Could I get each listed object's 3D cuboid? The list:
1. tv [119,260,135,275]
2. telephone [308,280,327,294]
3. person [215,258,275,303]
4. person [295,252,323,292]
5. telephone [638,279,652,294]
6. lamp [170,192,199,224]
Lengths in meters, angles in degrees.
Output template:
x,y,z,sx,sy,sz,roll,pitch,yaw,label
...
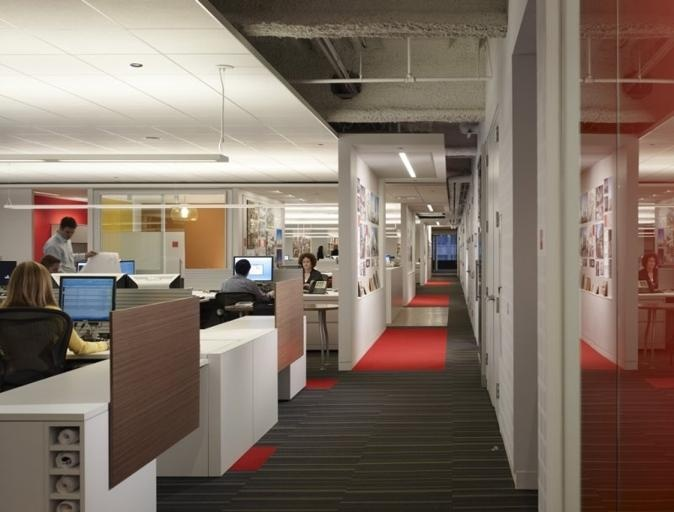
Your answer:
x,y,z,sx,sy,sz,roll,pitch,yaw,label
-3.429,0.200,8.342,0.170,0.242,0.248,-1,3,-1,tv
-0.313,0.521,8.454,0.249,0.199,0.243,3,11,27,telephone
-1.395,0.406,7.660,0.864,0.684,0.449,3,0,-6,person
-0.514,0.376,8.973,0.551,0.833,0.469,2,-2,5,person
1.029,0.106,1.713,0.058,0.055,0.031,-2,-5,14,telephone
-3.801,-1.188,12.970,0.806,0.772,0.807,1,-3,-12,lamp
